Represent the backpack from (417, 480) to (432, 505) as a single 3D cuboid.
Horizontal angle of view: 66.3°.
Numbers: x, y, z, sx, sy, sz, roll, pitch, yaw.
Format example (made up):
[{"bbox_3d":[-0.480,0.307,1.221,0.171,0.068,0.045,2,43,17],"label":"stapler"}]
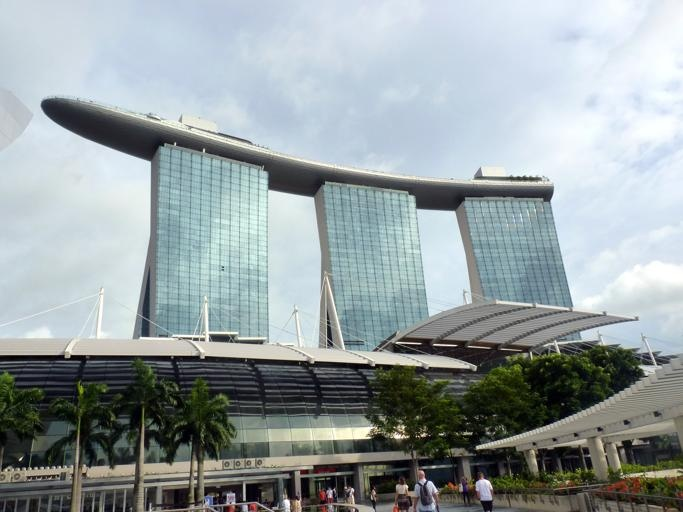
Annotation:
[{"bbox_3d":[3.364,9.596,21.071,0.479,0.866,0.250,-6,-25,-1],"label":"backpack"}]
